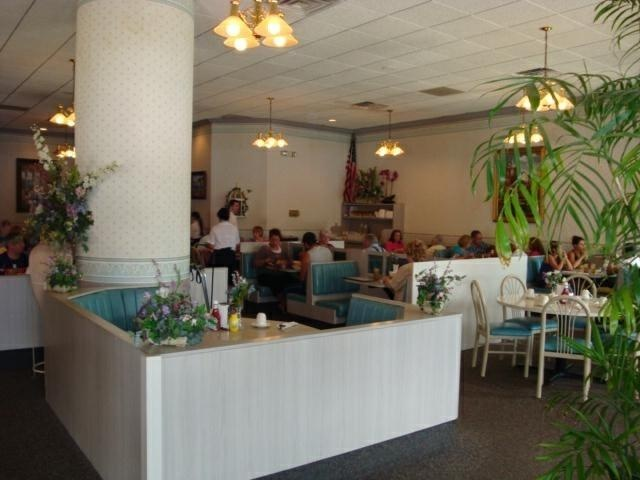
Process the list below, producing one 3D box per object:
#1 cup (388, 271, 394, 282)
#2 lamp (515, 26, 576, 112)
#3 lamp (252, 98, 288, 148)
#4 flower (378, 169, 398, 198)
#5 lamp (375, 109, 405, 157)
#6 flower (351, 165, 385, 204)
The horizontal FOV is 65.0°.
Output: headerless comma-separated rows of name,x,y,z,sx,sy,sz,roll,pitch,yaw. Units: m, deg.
cup,0.980,0.484,6.948,0.086,0.093,0.087,0,5,0
lamp,2.472,-1.905,5.538,0.550,0.891,0.594,3,10,32
lamp,-1.017,-2.472,10.412,0.693,1.001,0.875,0,6,-4
flower,1.725,-1.490,13.031,0.284,0.721,0.602,-3,8,-36
lamp,1.461,-2.294,10.544,0.510,0.946,0.569,1,5,20
flower,1.194,-1.494,13.453,0.859,1.156,0.776,-4,7,-28
